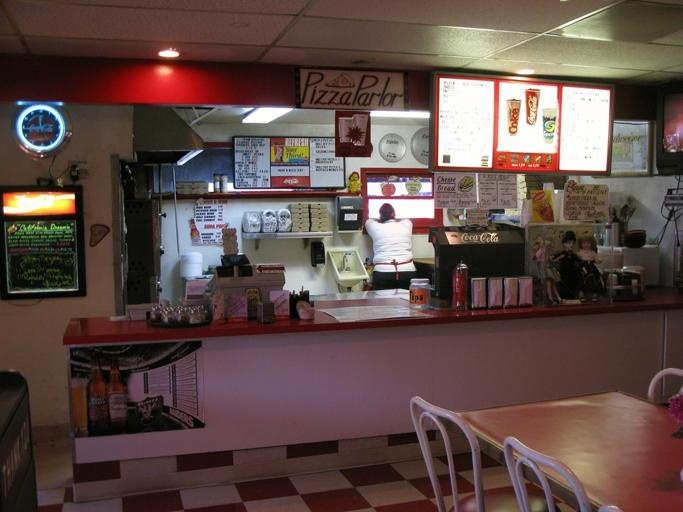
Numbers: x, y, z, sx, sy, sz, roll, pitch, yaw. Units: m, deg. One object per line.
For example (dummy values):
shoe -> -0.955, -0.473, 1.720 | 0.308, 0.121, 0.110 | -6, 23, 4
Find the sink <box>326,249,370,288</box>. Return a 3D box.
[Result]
sink -> 0.084, 0.143, 8.875 | 0.462, 0.385, 0.681 | -3, 45, -12

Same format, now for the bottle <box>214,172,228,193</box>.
bottle -> -1.757, -1.031, 8.400 | 0.225, 0.261, 0.227 | -1, 5, -19

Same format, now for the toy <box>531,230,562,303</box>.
toy -> 1.889, 0.138, 5.330 | 0.254, 0.561, 0.335 | -1, 14, -2

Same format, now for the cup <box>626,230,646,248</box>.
cup -> 3.303, -0.187, 6.577 | 0.172, 0.144, 0.205 | -1, -2, -7

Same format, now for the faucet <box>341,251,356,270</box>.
faucet -> 0.093, 0.090, 8.883 | 0.180, 0.312, 0.231 | 0, 3, -10

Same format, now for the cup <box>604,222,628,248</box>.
cup -> 3.220, -0.245, 6.877 | 0.251, 0.290, 0.544 | 7, 16, 25

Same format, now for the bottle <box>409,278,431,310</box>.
bottle -> 0.695, 0.338, 5.219 | 0.163, 0.223, 0.203 | 0, 14, 2

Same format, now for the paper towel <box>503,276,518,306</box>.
paper towel -> 1.498, 0.325, 5.144 | 0.150, 0.248, 0.086 | -1, 14, -2

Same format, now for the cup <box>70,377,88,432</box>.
cup -> -1.904, 1.096, 4.234 | 0.117, 0.410, 0.092 | -3, 14, -12

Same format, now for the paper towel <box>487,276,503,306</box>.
paper towel -> 1.346, 0.327, 5.117 | 0.152, 0.255, 0.077 | -2, 14, -7

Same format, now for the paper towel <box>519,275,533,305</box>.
paper towel -> 1.632, 0.318, 5.182 | 0.130, 0.250, 0.061 | -5, 15, -20

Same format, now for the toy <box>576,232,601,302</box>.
toy -> 2.295, 0.102, 5.375 | 0.251, 0.551, 0.218 | 1, 14, 6

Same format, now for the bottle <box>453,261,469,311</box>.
bottle -> 1.047, 0.266, 5.135 | 0.152, 0.364, 0.250 | 3, 14, 11

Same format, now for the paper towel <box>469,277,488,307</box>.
paper towel -> 1.197, 0.329, 5.091 | 0.146, 0.252, 0.100 | 1, 14, 4

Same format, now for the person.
person -> 0.704, -0.124, 8.331 | 0.709, 1.156, 0.550 | 3, 14, 13

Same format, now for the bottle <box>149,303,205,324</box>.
bottle -> -1.276, 0.455, 4.551 | 0.236, 0.091, 0.240 | 1, 4, 0
